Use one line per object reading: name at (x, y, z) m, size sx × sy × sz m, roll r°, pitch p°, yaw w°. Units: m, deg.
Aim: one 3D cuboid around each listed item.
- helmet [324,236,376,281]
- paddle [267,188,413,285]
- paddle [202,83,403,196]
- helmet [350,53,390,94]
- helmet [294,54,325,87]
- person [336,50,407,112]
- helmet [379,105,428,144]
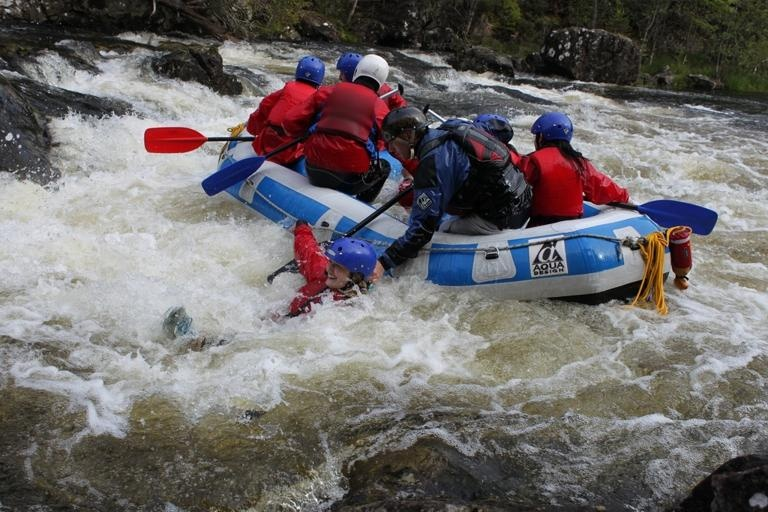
helmet at (-0.338, 0.010, 9.308) m, size 0.589 × 0.337 × 0.396 m, roll 15°, pitch 11°, yaw -24°
paddle at (-0.567, -0.212, 9.915) m, size 2.151 × 0.149 × 0.227 m, roll -30°, pitch 69°, yaw 2°
paddle at (-1.029, -1.516, 11.019) m, size 3.883 × 0.417 × 0.434 m, roll -28°, pitch 19°, yaw -11°
helmet at (-0.133, -2.467, 10.989) m, size 0.430 × 0.435 × 0.505 m, roll 21°, pitch 6°, yaw -14°
helmet at (-1.015, -2.637, 11.531) m, size 0.371 × 0.394 × 0.443 m, roll 14°, pitch 36°, yaw -4°
person at (-0.161, -2.459, 11.554) m, size 0.817 × 0.363 × 1.032 m, roll 26°, pitch 12°, yaw -34°
helmet at (0.265, -1.552, 9.531) m, size 0.574 × 0.397 × 0.379 m, roll -4°, pitch 25°, yaw 16°
